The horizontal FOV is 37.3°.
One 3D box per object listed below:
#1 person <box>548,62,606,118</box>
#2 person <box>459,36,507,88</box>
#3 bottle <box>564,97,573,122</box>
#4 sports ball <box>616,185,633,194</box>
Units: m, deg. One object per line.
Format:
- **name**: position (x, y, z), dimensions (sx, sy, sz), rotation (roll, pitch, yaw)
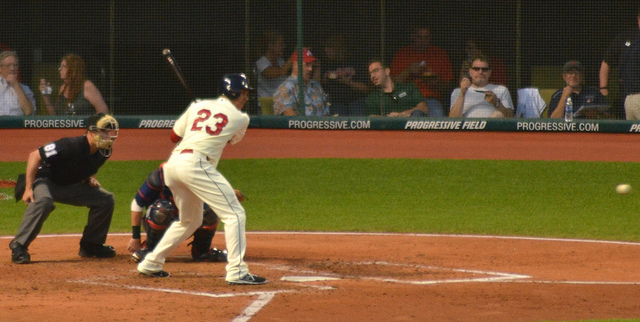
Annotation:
- **person**: position (7.793, -2.165, 28.953), dimensions (1.551, 1.666, 0.575), rotation (4, 11, 7)
- **person**: position (5.034, -3.024, 29.294), dimensions (1.454, 1.590, 0.895), rotation (-1, 11, 4)
- **bottle**: position (7.543, -1.559, 28.796), dimensions (0.250, 0.696, 0.343), rotation (5, 11, 7)
- **sports ball**: position (8.567, 0.797, 26.838), dimensions (0.395, 0.307, 0.293), rotation (5, 11, 11)
